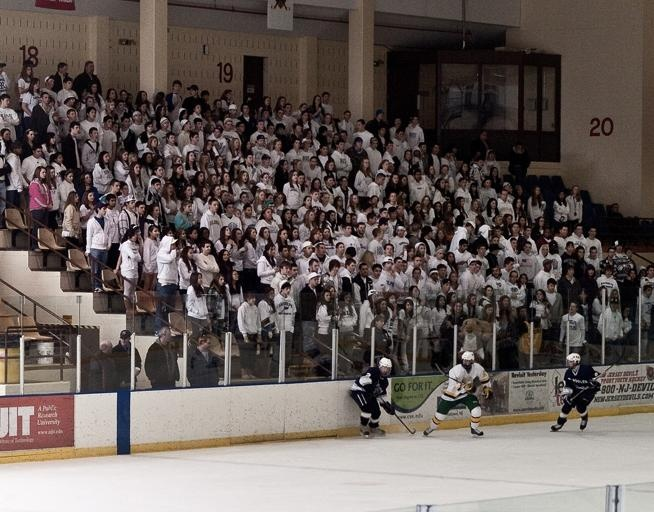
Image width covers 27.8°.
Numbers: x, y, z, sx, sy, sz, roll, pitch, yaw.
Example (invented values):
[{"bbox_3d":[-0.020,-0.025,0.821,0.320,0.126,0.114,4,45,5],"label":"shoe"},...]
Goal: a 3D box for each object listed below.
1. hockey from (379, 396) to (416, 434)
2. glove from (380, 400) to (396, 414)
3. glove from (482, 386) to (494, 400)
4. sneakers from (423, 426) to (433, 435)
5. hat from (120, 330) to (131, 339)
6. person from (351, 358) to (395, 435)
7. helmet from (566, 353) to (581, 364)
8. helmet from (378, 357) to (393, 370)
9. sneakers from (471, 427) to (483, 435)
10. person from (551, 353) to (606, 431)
[{"bbox_3d":[1.362,3.158,26.184,0.186,0.169,0.938,-3,-43,49],"label":"hockey"},{"bbox_3d":[1.205,2.971,25.623,0.369,0.081,0.196,48,-17,-10],"label":"glove"},{"bbox_3d":[3.179,2.711,26.261,0.210,0.232,0.270,6,12,-35],"label":"glove"},{"bbox_3d":[2.003,3.459,26.072,0.201,0.174,0.312,-1,-2,4],"label":"sneakers"},{"bbox_3d":[-3.636,1.428,23.950,0.112,0.170,0.164,9,39,13],"label":"hat"},{"bbox_3d":[0.870,2.762,25.750,0.805,1.519,0.422,-1,-2,-2],"label":"person"},{"bbox_3d":[5.001,2.088,26.845,0.232,0.231,0.198,13,2,1],"label":"helmet"},{"bbox_3d":[1.150,2.096,25.747,0.191,0.206,0.174,12,9,28],"label":"helmet"},{"bbox_3d":[2.967,3.472,26.135,0.189,0.167,0.114,-1,8,8],"label":"sneakers"},{"bbox_3d":[5.023,2.775,26.860,0.978,1.553,0.583,0,-2,-20],"label":"person"}]
